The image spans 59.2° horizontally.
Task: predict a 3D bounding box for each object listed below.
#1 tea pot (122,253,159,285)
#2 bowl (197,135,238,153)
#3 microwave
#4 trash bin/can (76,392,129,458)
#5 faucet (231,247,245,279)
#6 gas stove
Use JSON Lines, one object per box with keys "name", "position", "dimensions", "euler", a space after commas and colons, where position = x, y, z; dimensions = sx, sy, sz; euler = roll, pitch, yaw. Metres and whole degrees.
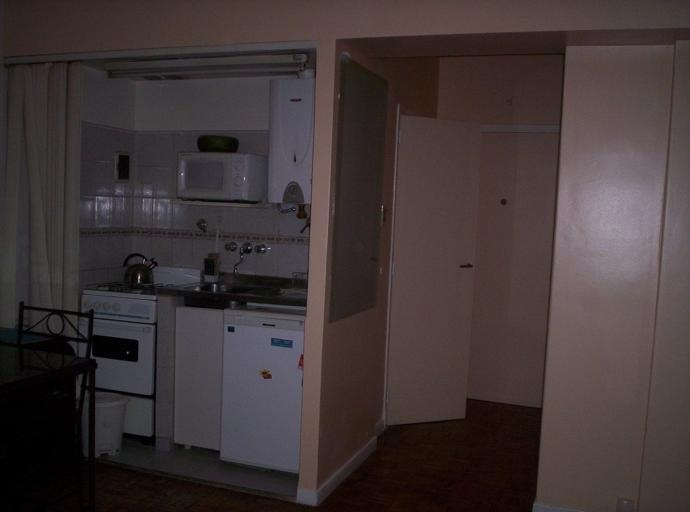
{"name": "tea pot", "position": [-1.674, 0.119, 4.874], "dimensions": [0.288, 0.269, 0.191], "euler": [-1, -9, -6]}
{"name": "bowl", "position": [-1.019, -0.877, 4.827], "dimensions": [0.198, 0.083, 0.188], "euler": [-1, 2, 0]}
{"name": "microwave", "position": [-0.961, -0.615, 4.741], "dimensions": [0.700, 0.368, 0.341], "euler": [1, 9, -12]}
{"name": "trash bin/can", "position": [-1.651, 1.208, 4.363], "dimensions": [0.371, 0.413, 0.414], "euler": [-1, -4, 6]}
{"name": "faucet", "position": [-0.888, 0.048, 5.044], "dimensions": [0.099, 0.236, 0.096], "euler": [1, 8, -9]}
{"name": "gas stove", "position": [-1.671, 0.366, 4.656], "dimensions": [0.596, 0.274, 0.474], "euler": [5, 6, 3]}
